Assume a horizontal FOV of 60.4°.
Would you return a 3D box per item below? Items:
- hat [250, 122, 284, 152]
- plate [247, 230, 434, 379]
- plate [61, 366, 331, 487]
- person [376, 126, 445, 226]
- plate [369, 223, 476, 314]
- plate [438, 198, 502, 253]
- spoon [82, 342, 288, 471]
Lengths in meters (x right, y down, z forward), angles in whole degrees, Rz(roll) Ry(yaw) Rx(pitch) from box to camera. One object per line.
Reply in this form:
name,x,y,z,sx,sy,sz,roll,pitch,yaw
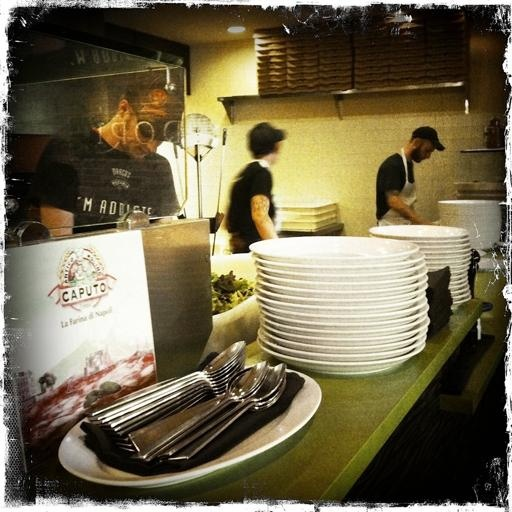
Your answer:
hat,0.060,-0.763,2.858,0.205,0.234,0.205,0,4,16
plate,0.140,0.061,0.762,0.265,0.139,0.248,-1,7,3
plate,-0.040,0.194,0.496,0.328,0.044,0.141,-3,4,-32
person,1.274,-0.652,3.555,0.608,0.783,0.458,-5,5,-42
plate,0.412,0.014,1.122,0.251,0.160,0.236,-4,10,1
plate,1.005,-0.163,2.160,0.362,0.263,0.333,4,6,44
spoon,-0.069,0.167,0.506,0.089,0.023,0.152,9,12,33
